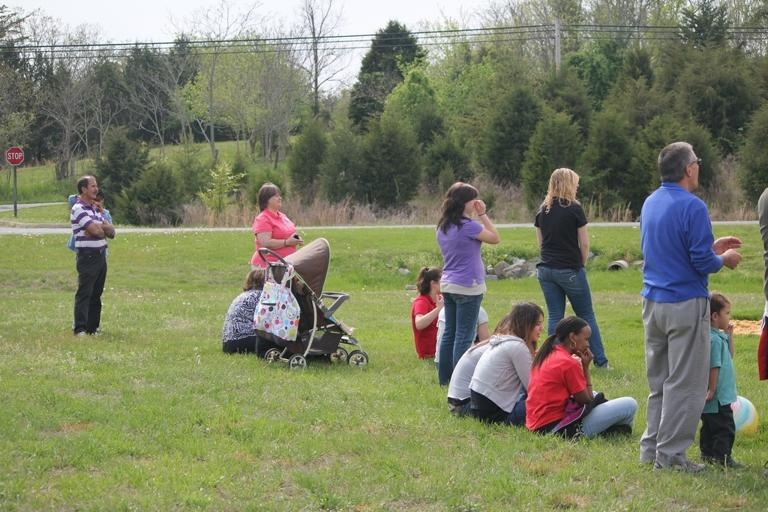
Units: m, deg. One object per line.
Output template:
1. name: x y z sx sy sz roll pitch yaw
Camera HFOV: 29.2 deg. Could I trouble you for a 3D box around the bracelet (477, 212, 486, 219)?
1. bracelet: 4.339 -1.769 66.040 0.310 0.247 0.251 4 4 42
